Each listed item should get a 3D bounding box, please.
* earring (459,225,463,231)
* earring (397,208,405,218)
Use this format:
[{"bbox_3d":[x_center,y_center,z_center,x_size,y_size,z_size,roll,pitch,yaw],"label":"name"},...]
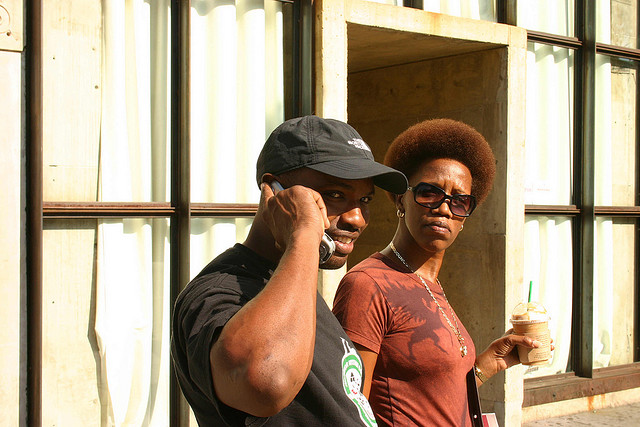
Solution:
[{"bbox_3d":[1.574,0.164,12.436,0.021,0.083,0.078,12,-20,3],"label":"earring"},{"bbox_3d":[0.754,-0.010,10.378,0.072,0.085,0.018,-4,-3,18],"label":"earring"}]
